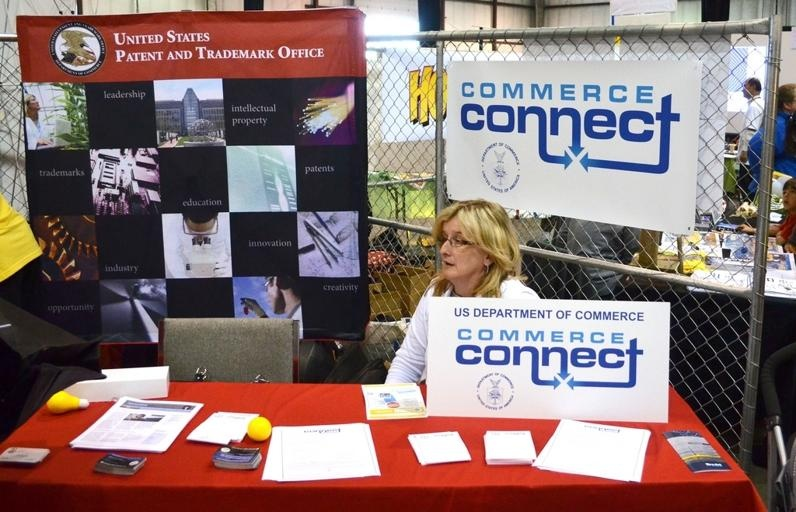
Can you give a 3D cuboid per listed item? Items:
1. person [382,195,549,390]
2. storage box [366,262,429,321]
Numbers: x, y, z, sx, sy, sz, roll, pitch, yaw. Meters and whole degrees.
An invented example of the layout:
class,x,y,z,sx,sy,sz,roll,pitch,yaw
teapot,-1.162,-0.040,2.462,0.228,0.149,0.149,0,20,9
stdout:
class,x,y,z,sx,sy,sz,roll,pitch,yaw
person,0.327,0.209,3.576,0.769,0.964,0.386,0,15,-1
storage box,-0.006,0.277,5.460,0.429,0.283,0.437,6,13,37
